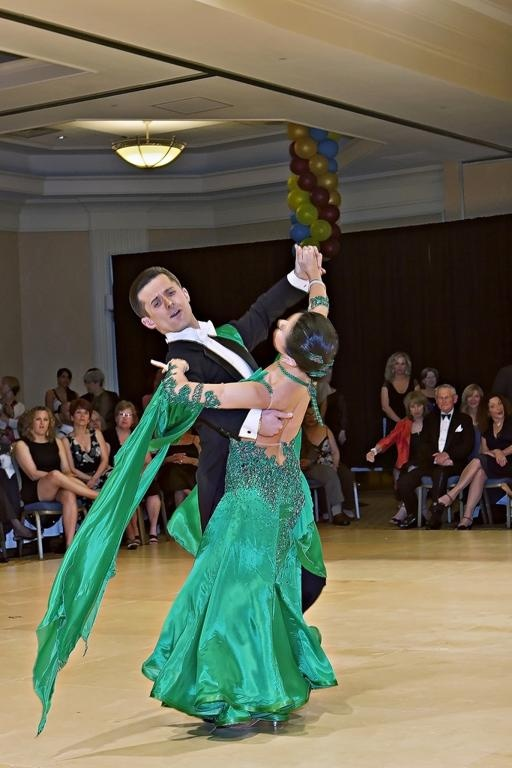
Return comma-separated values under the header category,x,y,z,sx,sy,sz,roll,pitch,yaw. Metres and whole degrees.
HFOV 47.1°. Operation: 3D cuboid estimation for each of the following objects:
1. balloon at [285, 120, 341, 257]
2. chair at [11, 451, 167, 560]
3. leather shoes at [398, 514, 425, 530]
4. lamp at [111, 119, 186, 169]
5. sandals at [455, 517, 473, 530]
category,x,y,z,sx,sy,sz,roll,pitch,yaw
balloon,0.586,-2.084,6.113,0.542,1.801,1.046,-3,-6,8
chair,-1.845,1.157,6.618,1.122,1.892,1.422,4,-7,-43
leather shoes,1.995,1.737,7.396,0.413,0.152,0.146,9,-13,-44
lamp,-1.506,-3.264,8.279,0.766,0.469,0.731,-1,-2,0
sandals,2.498,1.670,7.029,0.134,0.142,0.389,-3,-12,17
